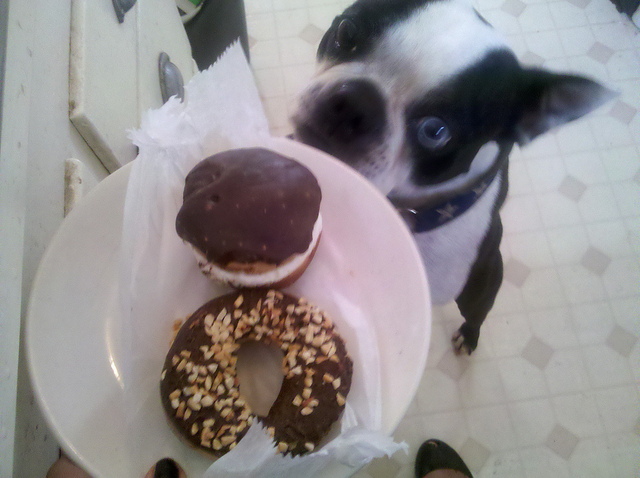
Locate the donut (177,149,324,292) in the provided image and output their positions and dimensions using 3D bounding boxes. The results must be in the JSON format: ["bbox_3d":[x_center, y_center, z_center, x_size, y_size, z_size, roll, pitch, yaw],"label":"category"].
[{"bbox_3d":[-0.157,-0.047,1.542,0.281,0.183,0.345,6,82,-6],"label":"donut"}]

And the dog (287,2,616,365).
[{"bbox_3d":[0.181,-0.398,2.141,0.861,1.075,0.705,-24,57,-29],"label":"dog"}]
